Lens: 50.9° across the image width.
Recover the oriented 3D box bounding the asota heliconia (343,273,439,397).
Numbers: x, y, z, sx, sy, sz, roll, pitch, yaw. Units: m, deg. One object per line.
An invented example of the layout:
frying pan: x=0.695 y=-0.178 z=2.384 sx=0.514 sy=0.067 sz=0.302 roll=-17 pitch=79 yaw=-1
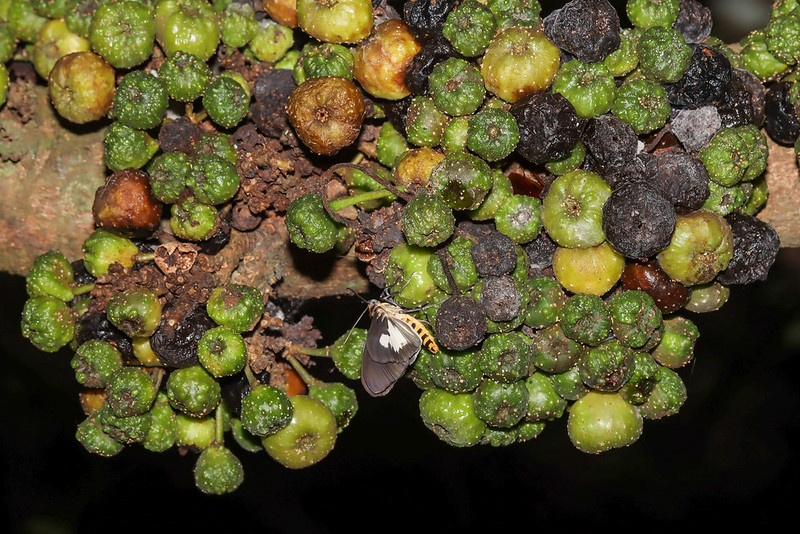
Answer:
asota heliconia: x=-0.078 y=0.710 z=7.237 sx=0.755 sy=0.916 sz=0.544 roll=33 pitch=54 yaw=22
